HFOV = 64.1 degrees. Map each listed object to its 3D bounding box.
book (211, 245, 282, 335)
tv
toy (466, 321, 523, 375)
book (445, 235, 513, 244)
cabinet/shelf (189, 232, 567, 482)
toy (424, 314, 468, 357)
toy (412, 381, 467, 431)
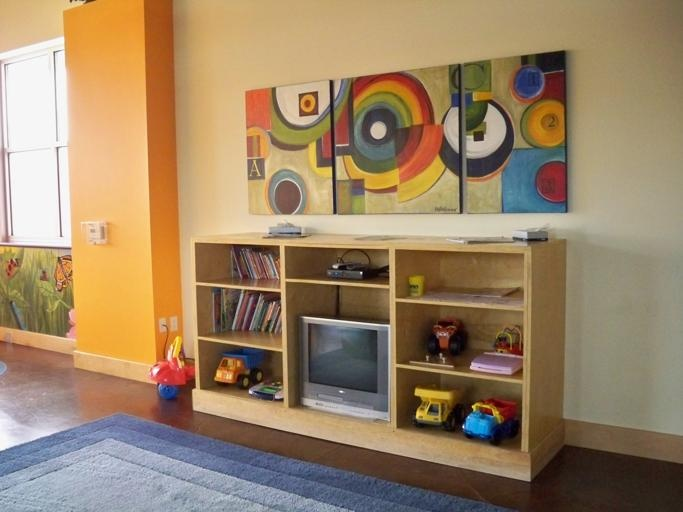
[{"bbox_3d":[-0.669,0.235,3.945,0.153,0.600,0.617,0,3,-38],"label":"book"},{"bbox_3d":[0.027,0.713,3.401,0.641,0.574,0.228,4,7,33],"label":"tv"},{"bbox_3d":[0.930,0.520,3.118,0.209,0.123,0.332,3,8,32],"label":"toy"},{"bbox_3d":[0.798,-0.095,3.130,0.360,0.023,0.415,1,10,11],"label":"book"},{"bbox_3d":[0.091,0.505,3.561,2.342,1.250,0.724,2,4,30],"label":"cabinet/shelf"},{"bbox_3d":[0.656,0.491,3.356,0.230,0.200,0.243,1,11,14],"label":"toy"},{"bbox_3d":[0.578,0.881,3.231,0.209,0.224,0.289,-1,-3,23],"label":"toy"}]
